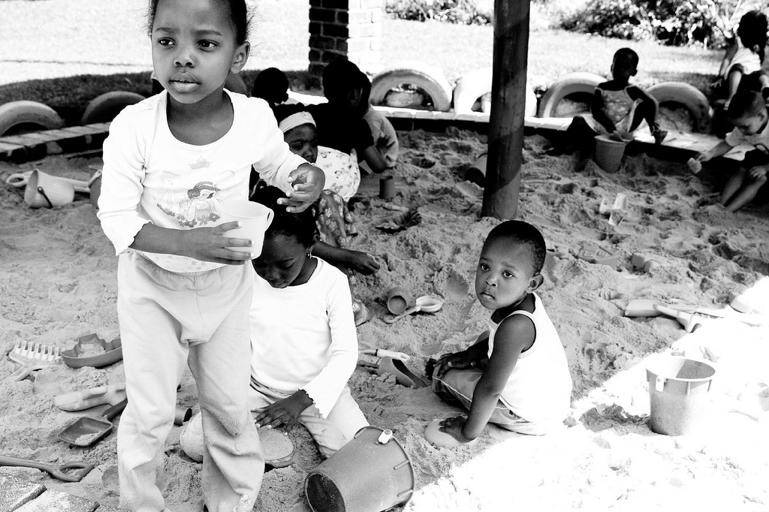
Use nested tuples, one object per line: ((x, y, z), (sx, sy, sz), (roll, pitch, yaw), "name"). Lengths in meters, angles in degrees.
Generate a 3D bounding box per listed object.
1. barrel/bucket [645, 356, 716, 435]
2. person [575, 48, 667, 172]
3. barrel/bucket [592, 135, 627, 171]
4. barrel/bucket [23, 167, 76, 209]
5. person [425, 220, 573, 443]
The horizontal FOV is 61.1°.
((1.520, 0.722, 3.344), (0.354, 0.331, 0.324), (-1, 11, 0), "barrel/bucket")
((2.277, -1.496, 6.331), (0.869, 0.972, 0.532), (-5, 26, -14), "person")
((2.149, -1.015, 6.281), (0.283, 0.318, 0.297), (3, 33, -2), "barrel/bucket")
((-2.656, -0.500, 5.150), (0.301, 0.338, 0.315), (6, 0, 0), "barrel/bucket")
((0.610, 0.354, 3.267), (0.814, 0.989, 0.616), (0, 26, -4), "person")
